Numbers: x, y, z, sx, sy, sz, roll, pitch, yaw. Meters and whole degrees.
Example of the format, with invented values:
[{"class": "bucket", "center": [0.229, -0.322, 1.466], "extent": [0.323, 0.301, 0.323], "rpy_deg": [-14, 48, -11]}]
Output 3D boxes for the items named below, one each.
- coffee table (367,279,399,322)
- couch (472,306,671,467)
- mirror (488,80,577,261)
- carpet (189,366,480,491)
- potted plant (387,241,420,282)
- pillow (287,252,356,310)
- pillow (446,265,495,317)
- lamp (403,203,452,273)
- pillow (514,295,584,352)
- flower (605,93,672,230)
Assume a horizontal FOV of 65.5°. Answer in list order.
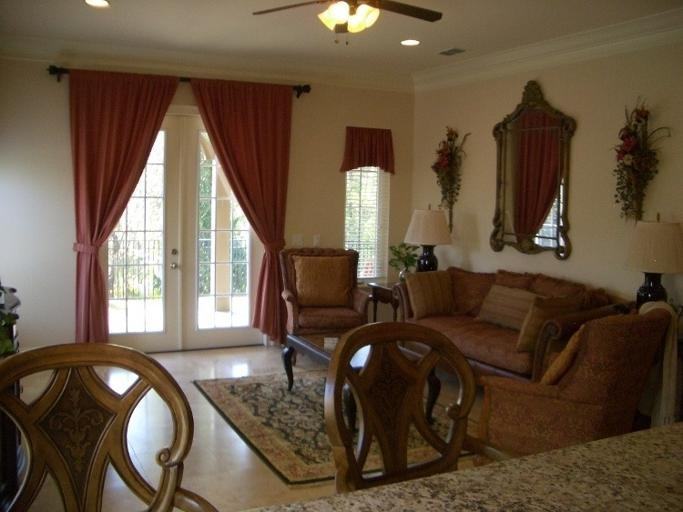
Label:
[{"class": "coffee table", "center": [0.480, 0.514, 6.072], "extent": [0.412, 0.521, 0.432], "rpy_deg": [-1, 11, -3]}, {"class": "couch", "center": [1.346, 0.761, 3.167], "extent": [1.004, 0.916, 0.382], "rpy_deg": [4, 7, 26]}, {"class": "mirror", "center": [1.936, -0.885, 5.384], "extent": [0.107, 1.745, 0.941], "rpy_deg": [-4, 8, -34]}, {"class": "carpet", "center": [-0.343, 1.326, 4.347], "extent": [1.091, 0.031, 1.770], "rpy_deg": [-4, 6, -21]}, {"class": "potted plant", "center": [0.740, 0.049, 6.616], "extent": [0.419, 0.464, 0.433], "rpy_deg": [-5, 8, -38]}, {"class": "pillow", "center": [-0.247, 0.296, 5.862], "extent": [0.550, 0.524, 0.193], "rpy_deg": [-1, -9, -11]}, {"class": "pillow", "center": [1.334, 0.387, 5.556], "extent": [0.433, 0.399, 0.164], "rpy_deg": [5, -20, 42]}, {"class": "lamp", "center": [0.941, -0.175, 6.033], "extent": [0.494, 0.701, 0.697], "rpy_deg": [1, 7, 0]}, {"class": "pillow", "center": [1.596, 0.550, 4.215], "extent": [0.135, 0.457, 0.450], "rpy_deg": [12, -9, -35]}, {"class": "flower", "center": [2.492, -0.812, 4.490], "extent": [0.231, 1.038, 0.450], "rpy_deg": [-5, 9, -44]}]
